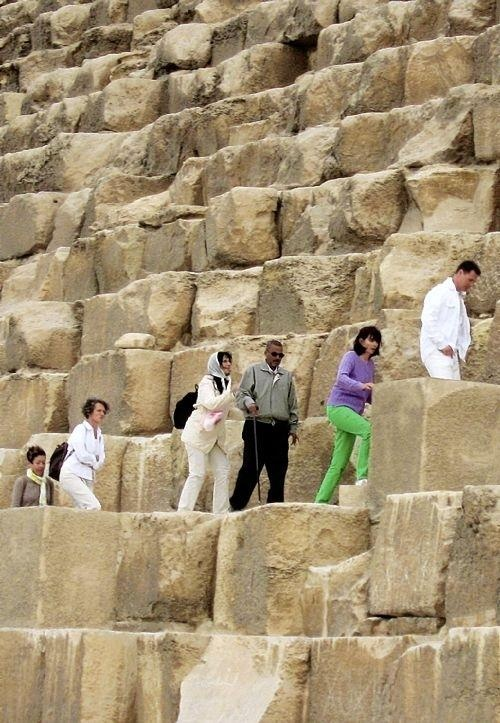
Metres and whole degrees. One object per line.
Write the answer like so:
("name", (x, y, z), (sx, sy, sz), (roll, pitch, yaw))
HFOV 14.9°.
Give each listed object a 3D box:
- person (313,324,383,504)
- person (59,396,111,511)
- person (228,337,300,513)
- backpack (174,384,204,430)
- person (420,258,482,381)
("person", (0.651, 0.402, 13.298), (0.486, 1.219, 0.534), (-2, 5, 14))
("person", (-1.139, 0.688, 13.688), (0.402, 0.803, 0.381), (-6, 6, -34))
("person", (0.083, 0.484, 13.668), (0.497, 1.190, 0.342), (-3, 5, -2))
("backpack", (-0.477, 0.368, 14.182), (0.060, 0.282, 0.270), (21, -4, -27))
("person", (1.323, -0.256, 12.962), (0.360, 0.770, 0.531), (-1, 5, 25))
